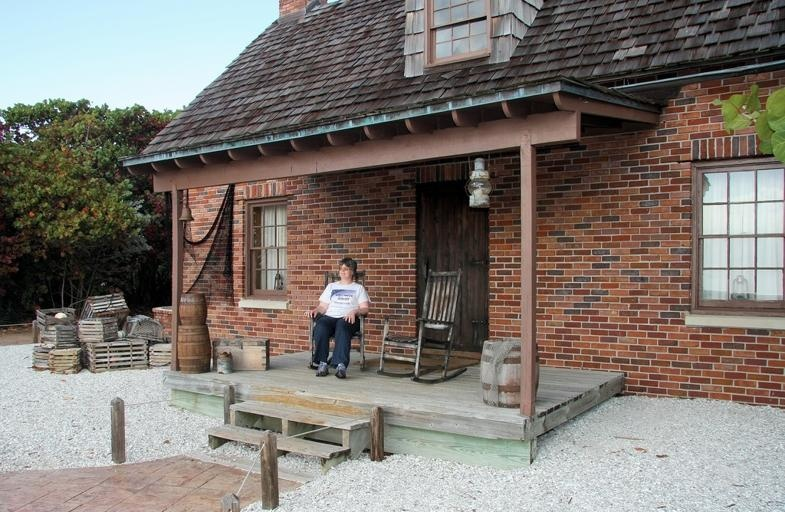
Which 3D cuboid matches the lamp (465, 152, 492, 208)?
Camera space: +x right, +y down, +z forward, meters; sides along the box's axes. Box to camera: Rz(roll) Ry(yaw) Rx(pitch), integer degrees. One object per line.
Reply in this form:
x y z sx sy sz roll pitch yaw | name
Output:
1.187 -1.020 8.935 0.297 0.690 0.395 -2 12 5 | lamp

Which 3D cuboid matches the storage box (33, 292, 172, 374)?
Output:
-6.323 1.765 13.581 2.034 0.889 2.518 0 -1 -43 | storage box

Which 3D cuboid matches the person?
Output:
-0.817 0.960 9.702 0.907 1.717 1.181 -4 11 -2 | person

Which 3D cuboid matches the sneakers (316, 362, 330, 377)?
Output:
-1.040 1.671 9.552 0.161 0.167 0.406 -1 -8 3 | sneakers

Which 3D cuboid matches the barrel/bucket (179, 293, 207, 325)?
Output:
-3.059 0.810 9.878 0.469 0.425 0.461 0 -3 0 | barrel/bucket

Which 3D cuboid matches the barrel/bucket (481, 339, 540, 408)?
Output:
1.440 1.434 8.182 0.804 0.740 0.797 0 -2 0 | barrel/bucket

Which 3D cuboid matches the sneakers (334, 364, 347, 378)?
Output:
-0.755 1.655 9.357 0.154 0.213 0.221 -4 11 -4 | sneakers
